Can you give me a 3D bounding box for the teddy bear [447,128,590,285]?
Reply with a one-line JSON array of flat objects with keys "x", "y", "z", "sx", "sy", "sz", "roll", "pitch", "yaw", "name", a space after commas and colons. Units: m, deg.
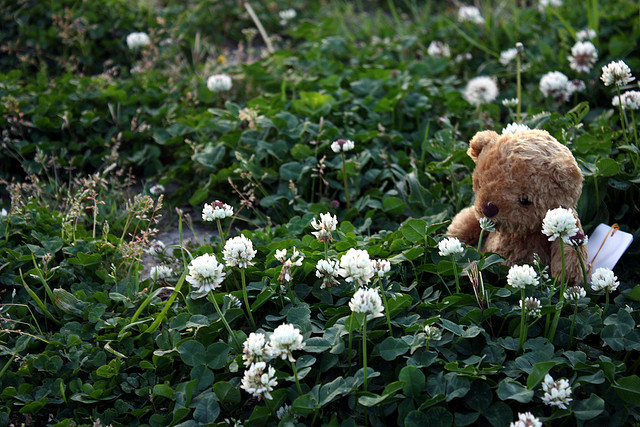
[{"x": 1.156, "y": -0.036, "z": 3.301, "sx": 0.604, "sy": 0.872, "sz": 0.819, "roll": -22, "pitch": 28, "yaw": -31, "name": "teddy bear"}]
